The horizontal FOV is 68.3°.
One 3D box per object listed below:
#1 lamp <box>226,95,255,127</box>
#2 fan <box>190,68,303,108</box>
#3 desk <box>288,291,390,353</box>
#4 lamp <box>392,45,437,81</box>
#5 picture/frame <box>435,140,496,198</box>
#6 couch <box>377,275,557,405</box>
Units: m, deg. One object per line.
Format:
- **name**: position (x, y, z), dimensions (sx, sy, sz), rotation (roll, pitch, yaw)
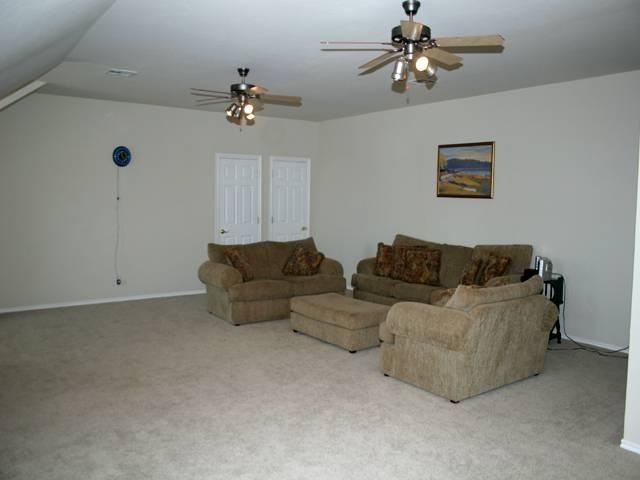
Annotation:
- **lamp**: position (-0.846, -1.430, 5.281), dimensions (0.298, 0.277, 0.483), rotation (-8, 14, -39)
- **fan**: position (-0.869, -1.884, 5.810), dimensions (0.687, 0.229, 0.624), rotation (-6, 14, -45)
- **desk**: position (0.266, 1.009, 5.863), dimensions (0.605, 0.484, 1.210), rotation (-10, 15, -44)
- **lamp**: position (0.730, -1.342, 3.699), dimensions (0.248, 0.127, 0.256), rotation (3, -17, 16)
- **picture/frame**: position (2.180, -1.043, 6.952), dimensions (0.041, 0.906, 0.902), rotation (0, 2, -44)
- **couch**: position (1.501, 0.872, 4.826), dimensions (1.631, 1.008, 1.197), rotation (-4, 7, -40)
